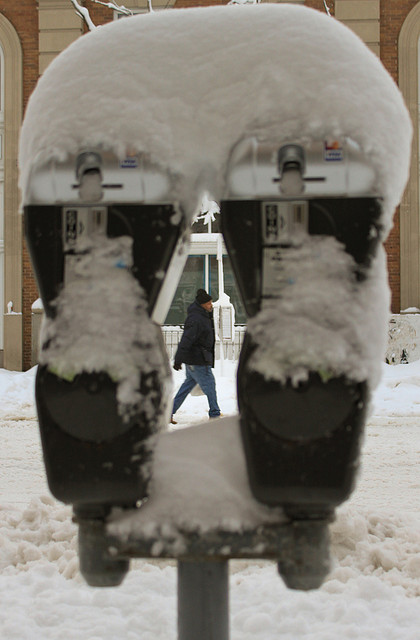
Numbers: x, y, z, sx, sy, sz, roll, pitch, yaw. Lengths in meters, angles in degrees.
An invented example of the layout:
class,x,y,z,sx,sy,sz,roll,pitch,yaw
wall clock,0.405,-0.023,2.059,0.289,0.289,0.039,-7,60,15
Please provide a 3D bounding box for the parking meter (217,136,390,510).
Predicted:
class,x,y,z,sx,sy,sz,roll,pitch,yaw
parking meter,0.241,-0.041,5.365,0.807,1.379,0.826,-4,-4,10

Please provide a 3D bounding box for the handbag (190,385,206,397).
class,x,y,z,sx,sy,sz,roll,pitch,yaw
handbag,-0.102,0.452,10.594,0.103,0.039,0.113,-19,-23,-9
